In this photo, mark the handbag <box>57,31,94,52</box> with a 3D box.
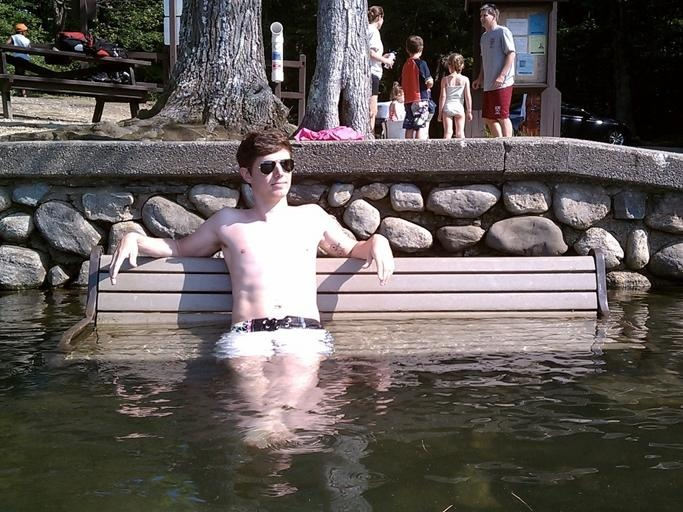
[{"bbox_3d":[-5.173,-4.068,13.686,0.690,0.252,0.770,1,16,-10],"label":"handbag"}]

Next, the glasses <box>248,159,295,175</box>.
[{"bbox_3d":[-0.428,-0.609,4.862,0.246,0.118,0.107,-2,5,-42],"label":"glasses"}]
